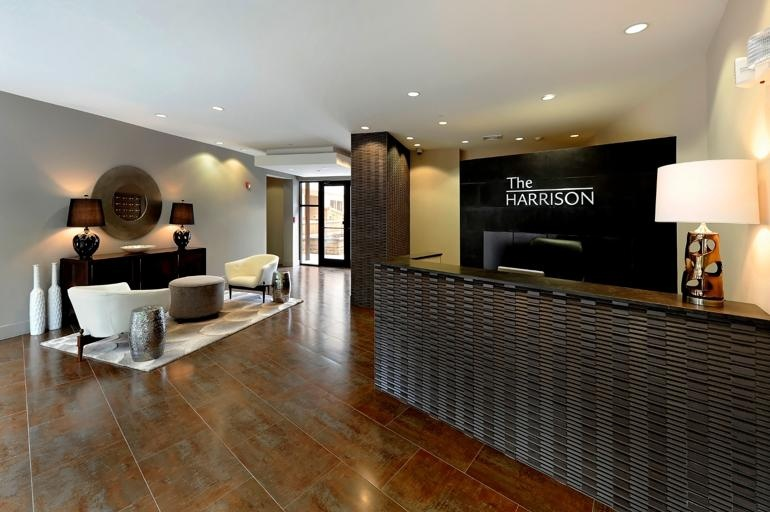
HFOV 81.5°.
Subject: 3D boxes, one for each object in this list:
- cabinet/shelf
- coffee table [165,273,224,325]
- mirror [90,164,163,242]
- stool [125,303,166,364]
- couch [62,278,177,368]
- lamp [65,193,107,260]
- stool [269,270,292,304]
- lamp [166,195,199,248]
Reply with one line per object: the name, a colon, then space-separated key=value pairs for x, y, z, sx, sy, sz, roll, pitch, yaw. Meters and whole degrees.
cabinet/shelf: x=-3.679 y=0.510 z=7.365 sx=2.378 sy=1.056 sz=0.598 roll=-5 pitch=-14 yaw=21
coffee table: x=-2.895 y=0.630 z=6.948 sx=0.839 sy=0.557 sz=0.784 roll=-3 pitch=10 yaw=-29
mirror: x=-4.190 y=-0.852 z=7.173 sx=0.052 sy=1.164 sz=1.213 roll=5 pitch=-8 yaw=24
stool: x=-2.866 y=0.946 z=5.404 sx=0.369 sy=0.630 sz=0.232 roll=-5 pitch=5 yaw=-33
couch: x=-3.309 y=0.820 z=5.820 sx=1.008 sy=0.850 sz=1.019 roll=2 pitch=7 yaw=22
lamp: x=-4.345 y=-0.411 z=6.507 sx=0.432 sy=0.907 sz=0.565 roll=-5 pitch=6 yaw=-36
stool: x=-1.865 y=0.550 z=8.072 sx=0.390 sy=0.582 sz=0.412 roll=4 pitch=-8 yaw=-35
lamp: x=-3.667 y=-0.551 z=8.017 sx=0.382 sy=0.871 sz=0.714 roll=-2 pitch=5 yaw=-7
